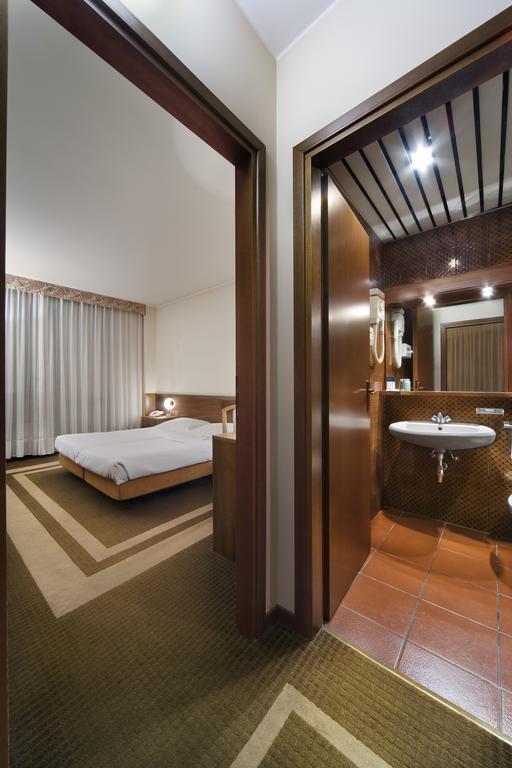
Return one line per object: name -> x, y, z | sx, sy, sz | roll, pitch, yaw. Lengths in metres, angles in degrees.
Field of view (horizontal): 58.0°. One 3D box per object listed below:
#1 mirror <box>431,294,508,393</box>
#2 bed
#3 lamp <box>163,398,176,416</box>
mirror -> 1.358, -0.239, 2.904 | 0.029, 0.901, 0.443 | 2, -2, -35
bed -> -0.926, 0.577, 4.270 | 1.535, 0.407, 1.564 | -8, 10, -42
lamp -> -1.167, 0.307, 6.216 | 0.144, 0.287, 0.093 | 2, -2, 45
